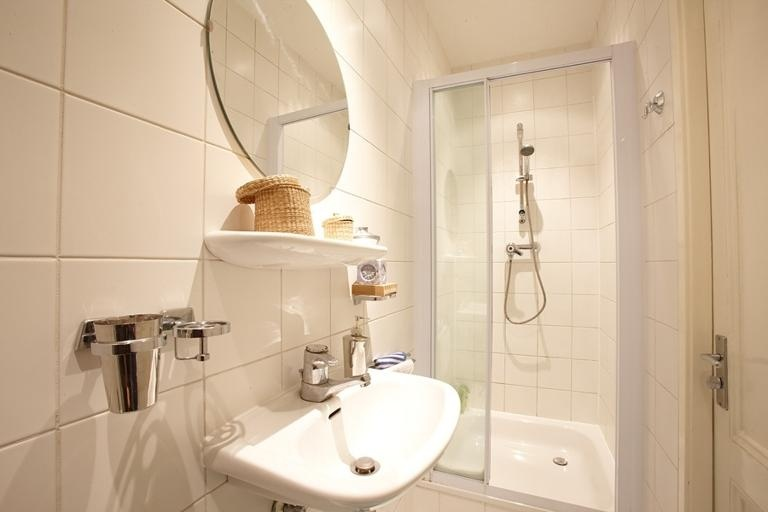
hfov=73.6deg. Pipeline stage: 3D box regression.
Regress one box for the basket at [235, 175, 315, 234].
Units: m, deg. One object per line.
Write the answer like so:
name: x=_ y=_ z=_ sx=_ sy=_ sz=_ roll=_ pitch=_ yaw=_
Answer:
basket: x=-0.342 y=-0.149 z=1.637 sx=0.198 sy=0.147 sz=0.183 roll=2 pitch=0 yaw=20

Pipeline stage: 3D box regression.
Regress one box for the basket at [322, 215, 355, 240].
basket: x=-0.155 y=-0.096 z=1.801 sx=0.099 sy=0.072 sz=0.080 roll=-2 pitch=-2 yaw=22

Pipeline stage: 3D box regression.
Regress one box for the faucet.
faucet: x=-0.132 y=0.397 z=1.757 sx=0.253 sy=0.167 sz=0.130 roll=-1 pitch=0 yaw=26
